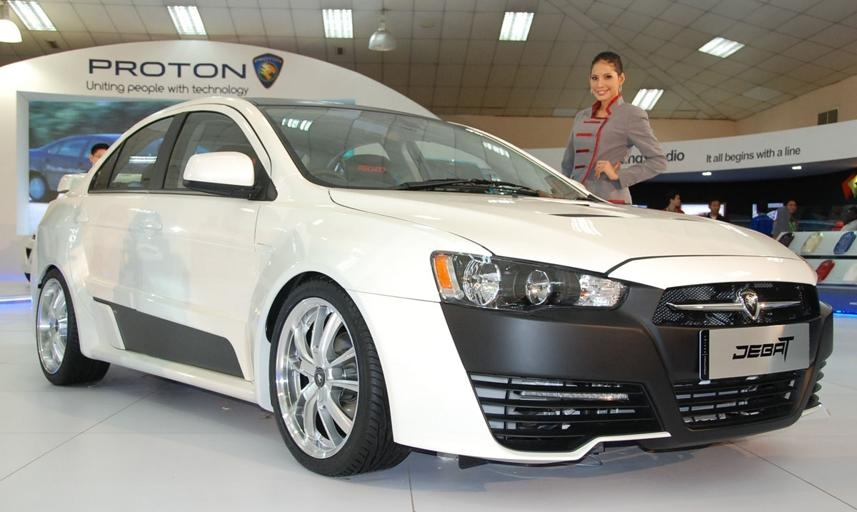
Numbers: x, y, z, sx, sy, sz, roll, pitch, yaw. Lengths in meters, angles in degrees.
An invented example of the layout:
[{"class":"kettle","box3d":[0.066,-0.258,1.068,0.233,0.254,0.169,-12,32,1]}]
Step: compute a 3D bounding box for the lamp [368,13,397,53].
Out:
[{"class":"lamp","box3d":[-1.146,-5.698,13.080,0.752,0.778,0.731,-16,39,-24]}]
